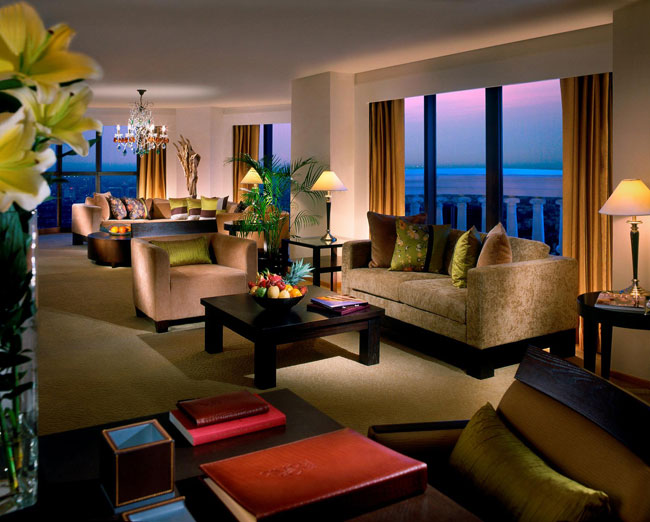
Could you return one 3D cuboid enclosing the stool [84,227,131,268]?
[{"bbox_3d":[-3.407,-0.184,7.837,0.618,0.399,0.627,0,6,-28],"label":"stool"}]

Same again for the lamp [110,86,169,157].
[{"bbox_3d":[-3.574,-2.709,9.781,0.914,1.300,0.926,-2,4,-23],"label":"lamp"}]

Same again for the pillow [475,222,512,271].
[{"bbox_3d":[1.381,-0.090,4.086,0.104,0.259,0.274,-12,14,-7],"label":"pillow"}]

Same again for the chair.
[{"bbox_3d":[-1.387,0.194,5.179,1.058,0.844,0.976,-5,7,-37],"label":"chair"}]

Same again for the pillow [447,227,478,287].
[{"bbox_3d":[1.225,-0.013,4.414,0.150,0.365,0.414,11,-22,9],"label":"pillow"}]

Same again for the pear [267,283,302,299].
[{"bbox_3d":[-0.294,0.233,3.728,0.282,0.096,0.119,-3,10,-24],"label":"pear"}]

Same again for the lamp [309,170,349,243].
[{"bbox_3d":[0.044,-0.673,6.280,0.446,0.891,0.457,3,11,18],"label":"lamp"}]

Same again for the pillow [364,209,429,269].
[{"bbox_3d":[0.734,-0.203,5.072,0.647,0.677,0.241,4,-7,10],"label":"pillow"}]

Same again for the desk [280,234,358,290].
[{"bbox_3d":[-0.031,0.016,6.159,0.469,0.560,0.393,-12,20,-11],"label":"desk"}]

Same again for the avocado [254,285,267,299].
[{"bbox_3d":[-0.480,0.238,3.739,0.076,0.095,0.075,8,-18,21],"label":"avocado"}]
